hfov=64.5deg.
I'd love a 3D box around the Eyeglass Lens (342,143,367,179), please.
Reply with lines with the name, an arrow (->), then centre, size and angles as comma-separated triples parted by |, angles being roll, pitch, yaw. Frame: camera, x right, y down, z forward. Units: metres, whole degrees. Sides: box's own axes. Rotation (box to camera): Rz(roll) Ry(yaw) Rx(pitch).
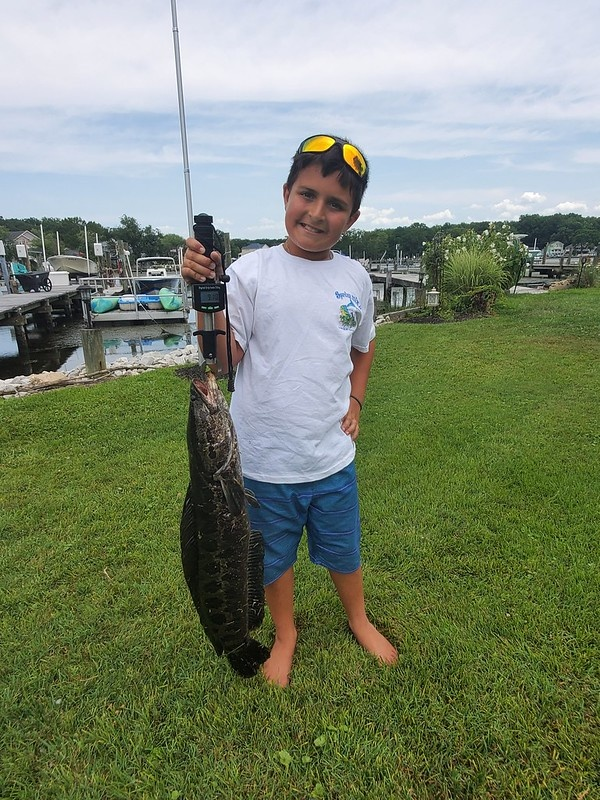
Eyeglass Lens -> 0.178, -0.817, 1.635 | 0.093, 0.113, 0.032 | 9, 4, -27

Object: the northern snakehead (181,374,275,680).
northern snakehead -> -0.238, 0.388, 1.602 | 0.404, 1.188, 0.244 | 3, 14, 4

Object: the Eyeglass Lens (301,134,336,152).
Eyeglass Lens -> 0.053, -0.859, 1.622 | 0.132, 0.065, 0.072 | -3, 14, 6

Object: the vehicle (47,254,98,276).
vehicle -> -16.717, -9.863, 35.080 | 1.797, 1.320, 4.677 | -1, 23, -9

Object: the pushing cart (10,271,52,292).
pushing cart -> -12.640, -5.588, 22.684 | 1.296, 0.876, 1.879 | -14, 17, -34
